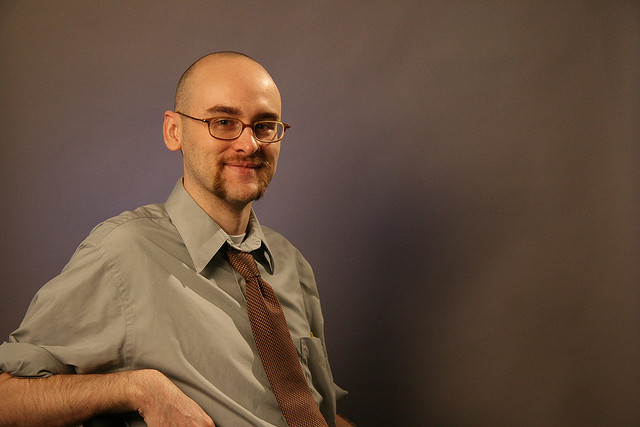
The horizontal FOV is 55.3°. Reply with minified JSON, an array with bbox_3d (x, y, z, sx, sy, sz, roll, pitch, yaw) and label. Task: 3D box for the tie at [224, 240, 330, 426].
[{"bbox_3d":[-0.158,0.455,2.072,0.189,0.774,0.043,-7,-23,-34],"label":"tie"}]
